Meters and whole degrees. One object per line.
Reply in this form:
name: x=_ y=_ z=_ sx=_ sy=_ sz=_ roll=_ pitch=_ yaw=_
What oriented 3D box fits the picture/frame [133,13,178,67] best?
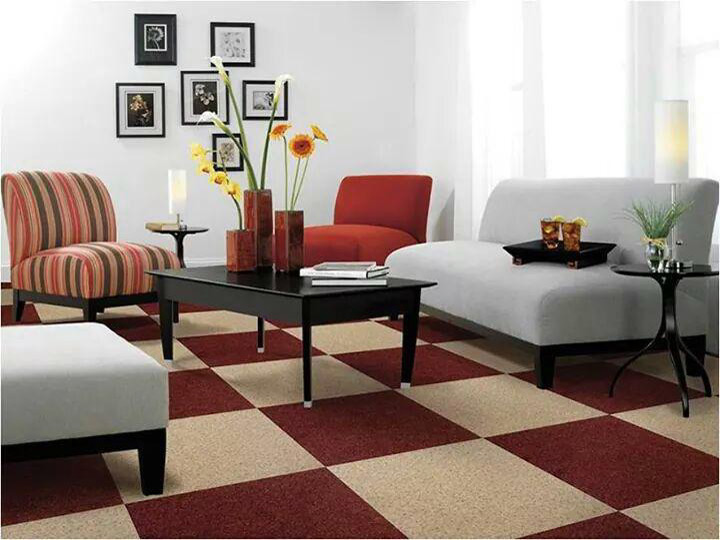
picture/frame: x=-1.987 y=-2.207 z=5.375 sx=0.521 sy=0.620 sz=0.047 roll=-1 pitch=6 yaw=-18

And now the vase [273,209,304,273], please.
vase: x=-0.355 y=-0.137 z=2.709 sx=0.144 sy=0.296 sz=0.089 roll=0 pitch=9 yaw=0

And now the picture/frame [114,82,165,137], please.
picture/frame: x=-2.153 y=-1.553 z=5.391 sx=0.544 sy=0.617 sz=0.042 roll=0 pitch=1 yaw=-19

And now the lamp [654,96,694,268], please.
lamp: x=1.321 y=-0.366 z=2.366 sx=0.169 sy=0.685 sz=0.449 roll=4 pitch=10 yaw=27

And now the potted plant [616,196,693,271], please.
potted plant: x=1.254 y=-0.156 z=2.503 sx=0.346 sy=0.369 sz=0.326 roll=0 pitch=-2 yaw=39
